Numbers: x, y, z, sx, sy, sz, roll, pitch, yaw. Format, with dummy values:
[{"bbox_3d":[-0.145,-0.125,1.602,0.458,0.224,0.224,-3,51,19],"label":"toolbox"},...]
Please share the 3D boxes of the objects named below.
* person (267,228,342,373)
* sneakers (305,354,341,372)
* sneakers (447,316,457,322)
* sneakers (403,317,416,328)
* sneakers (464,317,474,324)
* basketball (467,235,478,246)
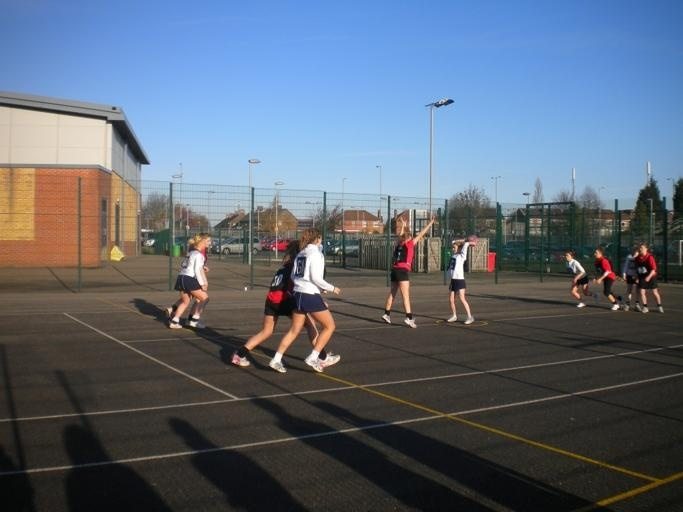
[{"bbox_3d":[-0.536,0.707,8.760,0.975,2.201,0.567,0,6,-1],"label":"person"},{"bbox_3d":[-0.275,1.675,9.009,0.629,0.286,0.212,-9,12,-33],"label":"sneakers"},{"bbox_3d":[2.622,1.495,13.488,0.102,0.141,0.316,-14,-14,21],"label":"sneakers"},{"bbox_3d":[1.517,1.482,12.712,0.115,0.153,0.315,10,0,-27],"label":"sneakers"},{"bbox_3d":[2.942,1.481,13.093,0.105,0.125,0.302,-13,-3,28],"label":"sneakers"},{"bbox_3d":[3.172,-0.382,13.753,0.281,0.296,0.235,2,3,14],"label":"basketball"}]
